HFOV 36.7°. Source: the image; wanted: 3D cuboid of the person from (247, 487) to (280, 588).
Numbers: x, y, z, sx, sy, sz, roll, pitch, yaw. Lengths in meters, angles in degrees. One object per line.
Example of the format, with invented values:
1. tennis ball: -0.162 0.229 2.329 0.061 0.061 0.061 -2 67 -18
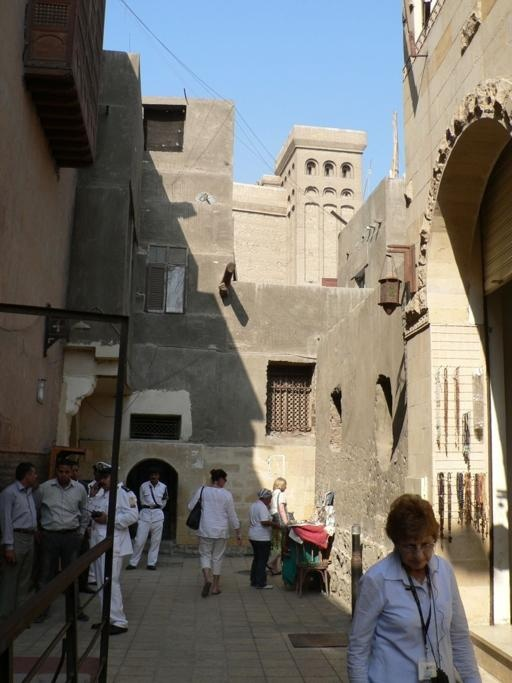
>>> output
1. person: 0.068 2.658 10.574 0.319 1.343 0.612 2 -11 0

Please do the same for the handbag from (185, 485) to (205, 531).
1. handbag: -0.763 2.071 9.730 0.185 0.521 0.255 3 -11 -6

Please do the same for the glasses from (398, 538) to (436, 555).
1. glasses: 0.635 0.797 3.024 0.061 0.039 0.103 -3 -26 2

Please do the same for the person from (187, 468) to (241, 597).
1. person: -0.577 2.393 9.771 0.621 1.563 0.689 -7 -14 40

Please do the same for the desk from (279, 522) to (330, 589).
1. desk: 0.639 2.895 10.688 0.635 1.182 0.781 2 -11 -11

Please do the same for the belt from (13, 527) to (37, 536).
1. belt: -2.233 1.816 7.452 0.046 0.055 0.250 -3 -17 26

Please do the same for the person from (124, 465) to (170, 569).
1. person: -1.686 2.852 12.280 0.522 1.709 0.455 3 -39 -5

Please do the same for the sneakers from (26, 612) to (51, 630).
1. sneakers: -2.107 2.679 7.564 0.148 0.125 0.525 6 -15 -14

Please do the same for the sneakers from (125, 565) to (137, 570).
1. sneakers: -1.953 3.493 12.024 0.149 0.093 0.079 11 -17 -9

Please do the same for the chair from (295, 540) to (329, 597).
1. chair: 0.792 3.164 10.734 0.374 0.659 0.452 -3 -8 22

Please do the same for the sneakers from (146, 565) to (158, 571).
1. sneakers: -1.632 3.506 12.096 0.063 0.108 0.215 4 -15 -22

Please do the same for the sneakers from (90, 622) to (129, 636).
1. sneakers: -1.396 2.713 7.367 0.349 0.107 0.266 7 -15 -14

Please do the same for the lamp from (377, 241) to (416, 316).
1. lamp: 1.366 -0.612 7.459 0.309 0.787 0.230 0 -36 11

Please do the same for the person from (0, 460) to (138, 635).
1. person: -1.709 1.984 7.789 0.900 1.687 1.315 13 -16 -43

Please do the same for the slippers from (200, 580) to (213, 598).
1. slippers: -0.622 3.085 9.678 0.080 0.284 0.087 7 2 -9
